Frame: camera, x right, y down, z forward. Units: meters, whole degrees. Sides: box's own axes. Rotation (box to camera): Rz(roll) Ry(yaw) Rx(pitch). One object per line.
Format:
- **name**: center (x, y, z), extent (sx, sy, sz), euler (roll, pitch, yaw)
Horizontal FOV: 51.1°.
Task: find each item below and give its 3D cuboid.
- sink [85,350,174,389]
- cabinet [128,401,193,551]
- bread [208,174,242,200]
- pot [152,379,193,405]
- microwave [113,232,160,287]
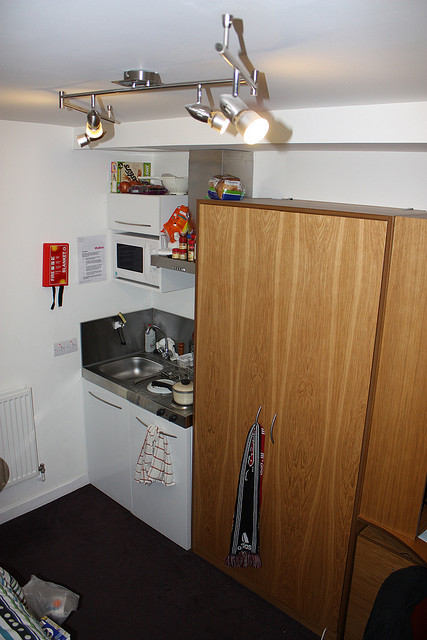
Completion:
- **sink**: center (-0.619, 0.421, 3.495), extent (0.507, 0.193, 0.666), euler (11, 16, 38)
- **cabinet**: center (-0.244, 0.987, 3.018), extent (0.414, 0.879, 0.546), euler (-9, 17, -40)
- **bread**: center (0.043, -0.751, 2.529), extent (0.124, 0.141, 0.238), euler (-7, 15, -36)
- **pot**: center (-0.271, 0.443, 2.924), extent (0.134, 0.136, 0.320), euler (-6, 13, -35)
- **microwave**: center (-0.524, -0.463, 3.337), extent (0.446, 0.347, 0.266), euler (11, 19, 26)
